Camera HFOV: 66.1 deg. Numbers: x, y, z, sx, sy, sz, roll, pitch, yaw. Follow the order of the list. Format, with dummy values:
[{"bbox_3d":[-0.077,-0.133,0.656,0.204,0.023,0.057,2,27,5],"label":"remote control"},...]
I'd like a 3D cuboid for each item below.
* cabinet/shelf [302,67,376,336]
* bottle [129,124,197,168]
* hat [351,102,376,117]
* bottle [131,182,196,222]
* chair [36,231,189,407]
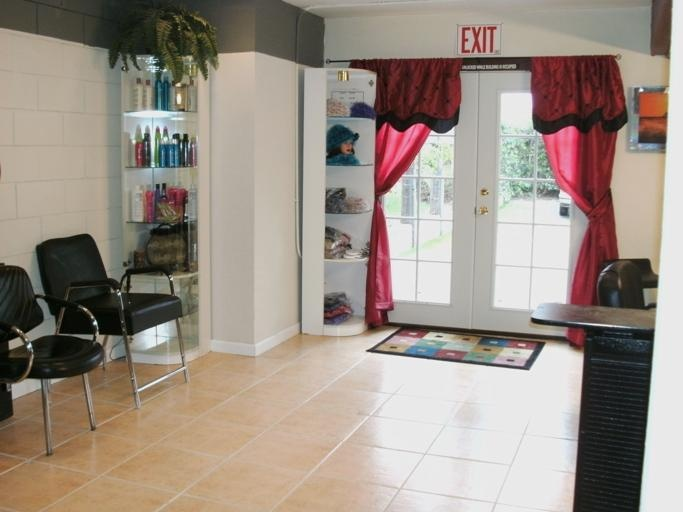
[{"bbox_3d":[-0.031,-0.145,5.318,0.583,2.155,0.574,-6,6,-1],"label":"cabinet/shelf"},{"bbox_3d":[-1.408,-0.849,4.096,0.500,0.317,0.128,-3,10,-20],"label":"bottle"},{"bbox_3d":[0.191,-1.367,4.920,0.233,0.152,0.057,0,10,-6],"label":"hat"},{"bbox_3d":[-1.425,-0.415,4.141,0.487,0.312,0.125,-3,10,-23],"label":"bottle"},{"bbox_3d":[-1.621,0.412,3.758,0.916,1.003,0.748,6,7,22],"label":"chair"}]
